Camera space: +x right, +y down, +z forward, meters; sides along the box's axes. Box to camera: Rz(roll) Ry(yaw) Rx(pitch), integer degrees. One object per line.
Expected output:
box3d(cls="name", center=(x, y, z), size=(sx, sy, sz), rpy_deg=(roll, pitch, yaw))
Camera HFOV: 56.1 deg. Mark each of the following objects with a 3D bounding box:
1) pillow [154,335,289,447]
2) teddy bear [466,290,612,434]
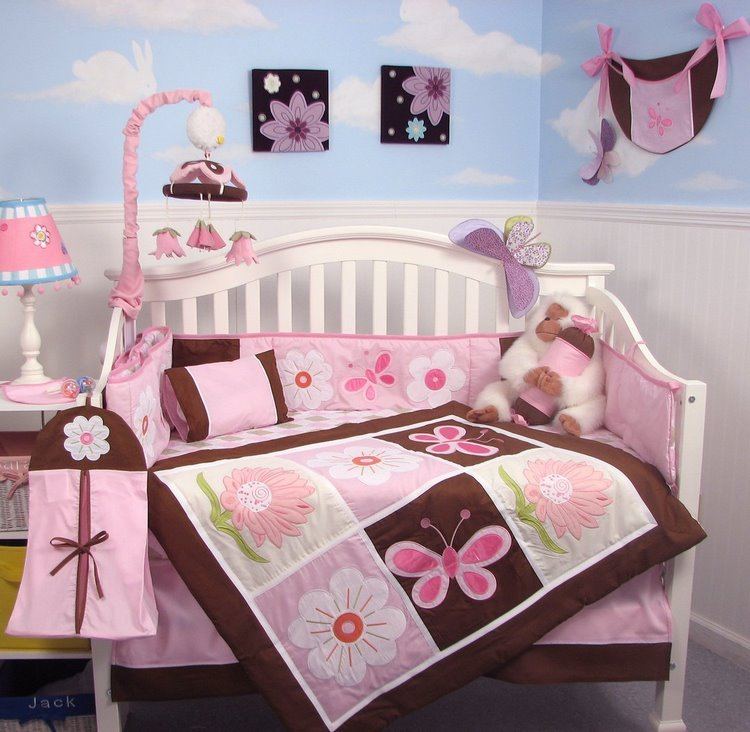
box3d(cls="pillow", center=(-0.448, 0.093, 2.131), size=(0.389, 0.230, 0.150), rpy_deg=(-18, 23, -35))
box3d(cls="teddy bear", center=(0.501, -0.011, 2.117), size=(0.365, 0.412, 0.417), rpy_deg=(3, 10, -15))
